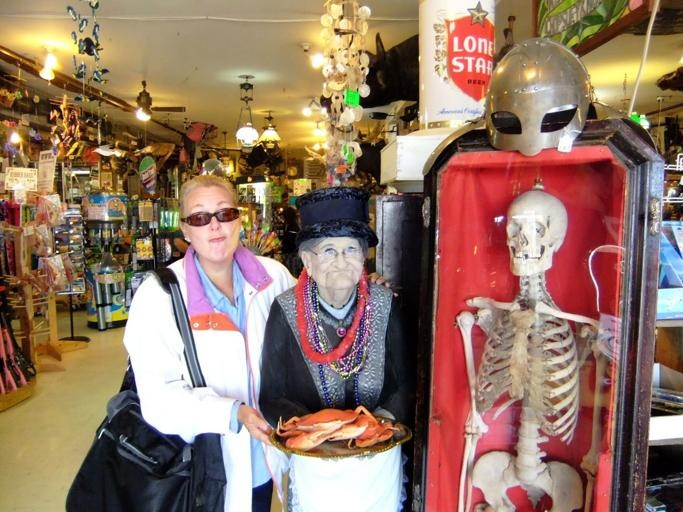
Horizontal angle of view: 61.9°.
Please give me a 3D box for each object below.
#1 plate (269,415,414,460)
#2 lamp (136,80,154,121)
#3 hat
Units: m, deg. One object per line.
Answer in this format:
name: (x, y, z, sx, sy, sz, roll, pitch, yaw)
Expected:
plate: (0.031, 0.715, 2.254, 0.513, 0.072, 0.580, -4, -1, 26)
lamp: (-2.870, -2.248, 8.271, 0.211, 0.586, 0.218, 3, 13, -12)
hat: (-0.025, -0.157, 2.396, 0.337, 0.272, 0.200, -6, 5, -4)
